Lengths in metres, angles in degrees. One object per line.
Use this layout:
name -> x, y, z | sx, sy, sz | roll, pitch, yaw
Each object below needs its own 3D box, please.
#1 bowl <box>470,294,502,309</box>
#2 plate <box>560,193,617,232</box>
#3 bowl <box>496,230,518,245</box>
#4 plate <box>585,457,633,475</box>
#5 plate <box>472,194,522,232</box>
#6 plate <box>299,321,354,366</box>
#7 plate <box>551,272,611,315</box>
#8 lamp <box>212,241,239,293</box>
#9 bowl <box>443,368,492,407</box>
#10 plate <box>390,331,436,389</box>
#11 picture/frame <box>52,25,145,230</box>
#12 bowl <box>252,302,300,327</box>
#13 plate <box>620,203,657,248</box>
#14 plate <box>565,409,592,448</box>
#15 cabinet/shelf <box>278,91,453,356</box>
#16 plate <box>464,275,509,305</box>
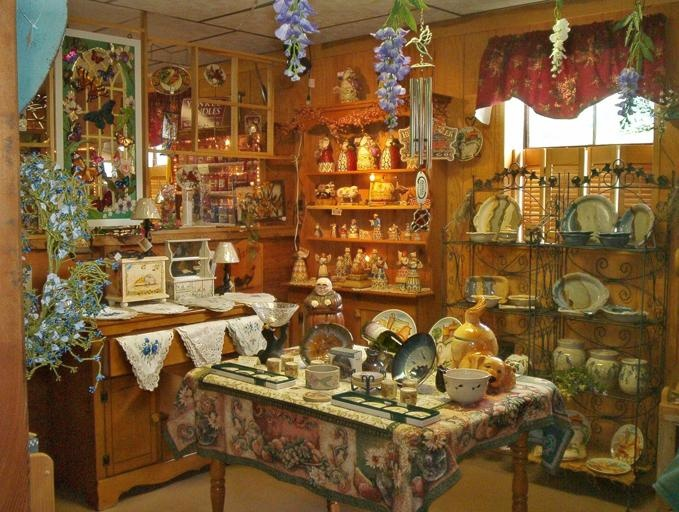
bowl -> 1.055, 0.329, 4.128 | 0.214, 0.077, 0.210 | -1, 2, 0
plate -> 1.838, -0.309, 4.212 | 0.372, 0.278, 0.109 | 1, 4, 24
bowl -> 1.326, -0.145, 4.483 | 0.114, 0.091, 0.114 | 1, 3, 0
plate -> 1.880, 1.476, 3.989 | 0.306, 0.043, 0.261 | -3, 5, -37
plate -> 1.289, -0.347, 4.645 | 0.352, 0.309, 0.240 | 4, 8, 11
plate -> -0.079, 0.430, 2.913 | 0.216, 0.221, 0.213 | 9, 7, 40
plate -> 1.794, 0.272, 4.225 | 0.333, 0.295, 0.066 | 15, 5, 30
lamp -> -0.979, 0.087, 4.889 | 0.194, 0.415, 0.557 | -1, 4, -12
bowl -> 0.552, 0.545, 2.537 | 0.174, 0.152, 0.190 | 2, 8, 0
plate -> 0.342, 0.472, 2.743 | 0.179, 0.260, 0.172 | 9, 10, 24
picture/frame -> -1.849, -0.950, 4.410 | 0.664, 1.478, 0.204 | -4, 15, -43
bowl -> -0.346, 0.318, 3.058 | 0.225, 0.149, 0.172 | -1, 4, -6
plate -> 2.096, -0.218, 4.042 | 0.169, 0.302, 0.255 | -3, 4, -32
plate -> 0.558, 0.589, 2.547 | 0.191, 0.123, 0.193 | 0, 3, 5
cabinet/shelf -> 0.372, -0.340, 5.717 | 1.883, 2.067, 0.789 | 10, 12, 43
plate -> 1.203, 0.259, 4.639 | 0.248, 0.149, 0.247 | 0, 1, -6
